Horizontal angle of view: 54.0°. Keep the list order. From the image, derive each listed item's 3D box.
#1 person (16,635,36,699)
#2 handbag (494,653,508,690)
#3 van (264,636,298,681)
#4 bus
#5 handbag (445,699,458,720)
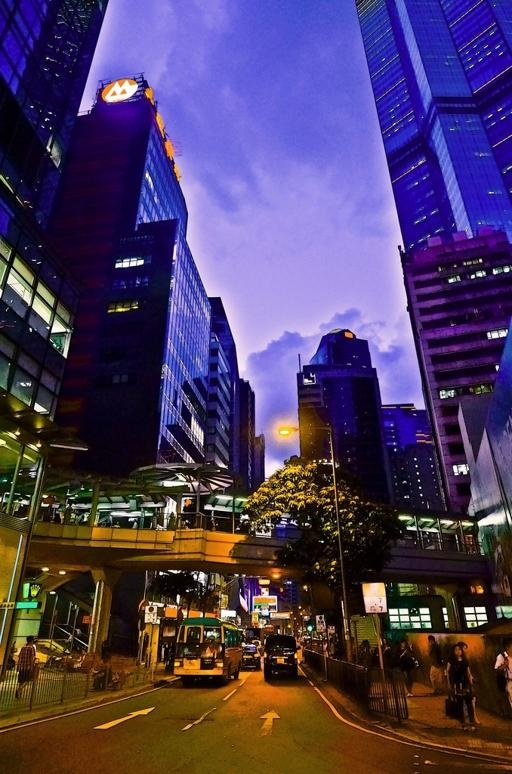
[{"bbox_3d":[-6.554,7.928,14.259,0.389,1.526,1.541,9,-26,-22],"label":"person"},{"bbox_3d":[5.078,5.834,10.375,0.191,0.501,0.367,-7,-51,17],"label":"handbag"},{"bbox_3d":[1.228,14.143,26.641,1.437,1.518,2.685,1,-12,3],"label":"van"},{"bbox_3d":[-1.982,12.349,23.247,2.286,2.642,5.247,-4,-38,5],"label":"bus"},{"bbox_3d":[4.055,6.685,10.434,0.218,0.346,0.402,-2,-24,3],"label":"handbag"}]
